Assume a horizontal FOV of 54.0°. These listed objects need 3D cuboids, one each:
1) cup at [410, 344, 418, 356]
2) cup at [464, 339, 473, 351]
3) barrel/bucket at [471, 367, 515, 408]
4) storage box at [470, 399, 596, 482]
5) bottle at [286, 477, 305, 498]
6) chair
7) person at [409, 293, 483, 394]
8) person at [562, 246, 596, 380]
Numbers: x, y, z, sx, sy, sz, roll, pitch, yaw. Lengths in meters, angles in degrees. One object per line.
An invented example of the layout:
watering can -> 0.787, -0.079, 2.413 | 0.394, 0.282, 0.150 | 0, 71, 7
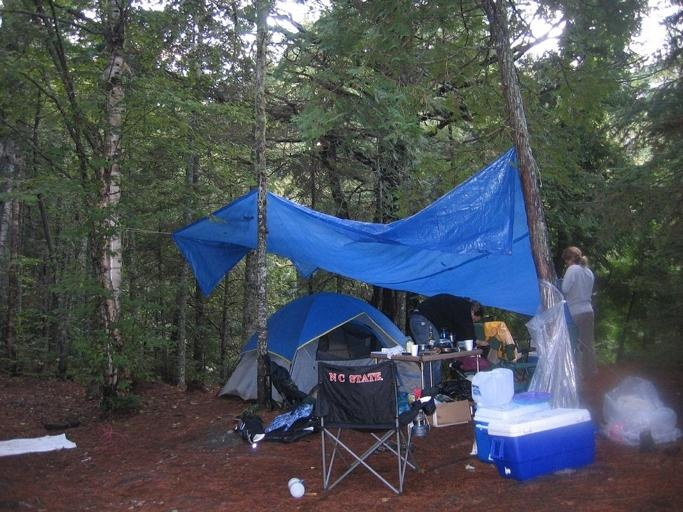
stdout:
cup -> 1.037, 1.316, 9.501 | 0.099, 0.163, 0.258 | -3, -8, 6
cup -> 1.835, 1.278, 9.685 | 0.107, 0.130, 0.132 | 1, -12, -14
barrel/bucket -> 1.800, 1.562, 7.998 | 0.421, 0.473, 0.462 | -1, -5, 0
storage box -> 2.301, 2.093, 7.802 | 1.188, 0.602, 0.743 | 3, -9, -34
bottle -> -0.520, 2.659, 7.736 | 0.202, 0.191, 0.219 | -2, -8, -5
chair -> 0.341, 2.014, 8.254 | 1.331, 1.540, 1.360 | -3, -2, -7
person -> 1.682, 1.370, 10.702 | 1.406, 1.528, 0.888 | 0, -8, 22
person -> 3.250, 0.758, 9.217 | 0.372, 1.855, 0.746 | -8, -9, 42
